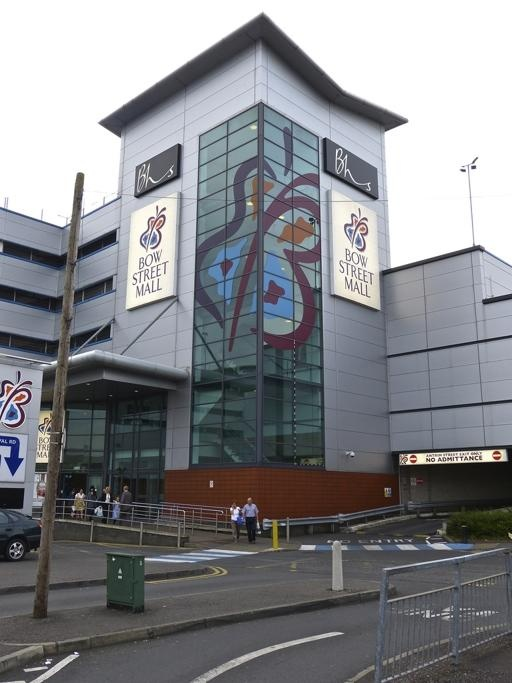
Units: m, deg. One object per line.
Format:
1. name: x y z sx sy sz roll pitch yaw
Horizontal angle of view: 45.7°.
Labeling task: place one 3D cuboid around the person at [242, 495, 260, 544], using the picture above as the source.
1. person: -0.264 7.274 24.670 0.550 1.739 1.045 1 -16 -4
